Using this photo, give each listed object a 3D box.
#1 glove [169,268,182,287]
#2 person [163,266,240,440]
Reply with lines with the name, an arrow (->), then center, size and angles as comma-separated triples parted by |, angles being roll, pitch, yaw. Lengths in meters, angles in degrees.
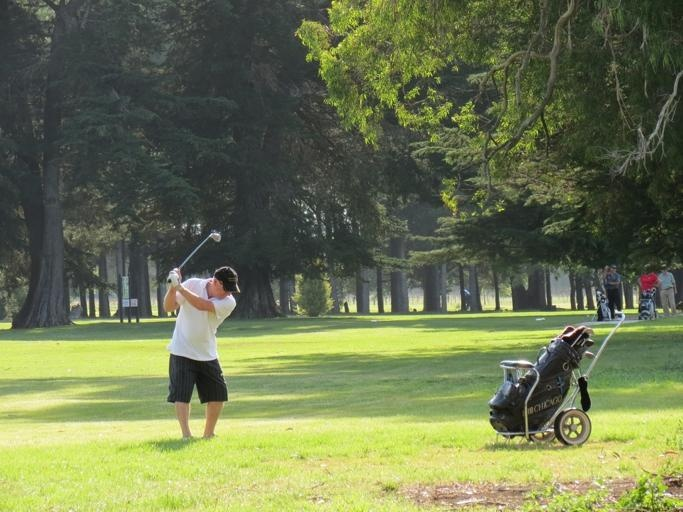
glove -> -3.210, 0.427, 23.861 | 0.230, 0.349, 0.140 | -2, -6, -32
person -> -2.604, 1.830, 24.230 | 1.359, 3.317, 1.113 | -1, -1, 30
